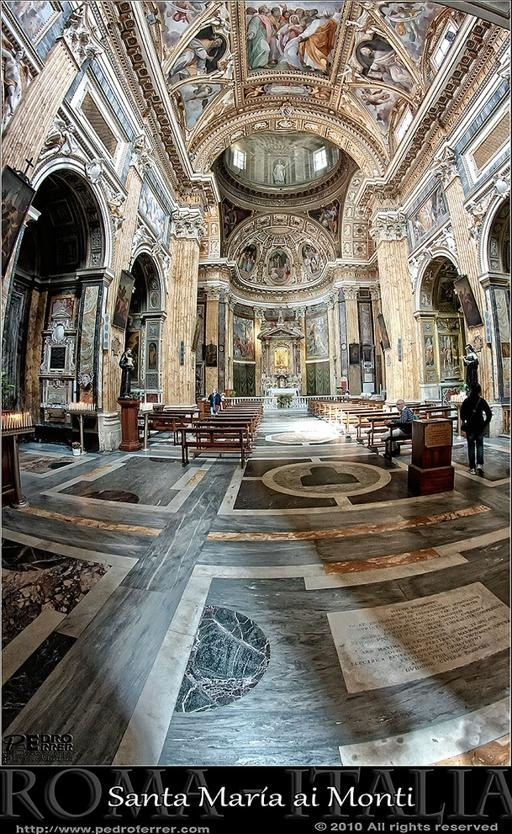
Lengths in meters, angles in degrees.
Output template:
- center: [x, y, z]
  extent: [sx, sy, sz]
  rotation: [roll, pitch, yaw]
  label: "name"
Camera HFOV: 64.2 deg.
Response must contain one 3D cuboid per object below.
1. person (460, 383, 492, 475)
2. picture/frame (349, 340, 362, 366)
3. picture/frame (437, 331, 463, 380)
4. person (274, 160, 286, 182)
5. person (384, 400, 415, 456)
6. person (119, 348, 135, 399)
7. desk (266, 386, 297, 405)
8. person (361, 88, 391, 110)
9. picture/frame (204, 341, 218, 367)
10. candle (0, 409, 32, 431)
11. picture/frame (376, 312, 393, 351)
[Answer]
- center: [2.704, 0.141, 5.118]
  extent: [0.310, 1.117, 0.665]
  rotation: [4, 8, 28]
  label: "person"
- center: [4.913, -3.173, 20.565]
  extent: [0.574, 1.094, 0.316]
  rotation: [-1, 7, -1]
  label: "picture/frame"
- center: [6.200, -1.954, 13.210]
  extent: [1.260, 1.549, 0.469]
  rotation: [-6, 9, -37]
  label: "picture/frame"
- center: [1.336, -14.343, 24.003]
  extent: [0.739, 1.185, 0.196]
  rotation: [-1, 7, -7]
  label: "person"
- center: [2.183, 0.206, 6.318]
  extent: [0.385, 0.933, 1.277]
  rotation: [2, 8, 20]
  label: "person"
- center: [-2.458, -0.830, 7.770]
  extent: [0.242, 0.897, 0.611]
  rotation: [-3, 8, -18]
  label: "person"
- center: [1.387, -1.051, 22.519]
  extent: [1.653, 0.891, 2.415]
  rotation: [0, 8, 3]
  label: "desk"
- center: [3.552, -9.494, 12.185]
  extent: [0.797, 0.288, 0.671]
  rotation: [2, 8, 14]
  label: "person"
- center: [-2.203, -3.057, 20.067]
  extent: [0.648, 1.152, 0.561]
  rotation: [-1, 7, -8]
  label: "picture/frame"
- center: [-2.436, 0.041, 4.183]
  extent: [0.246, 0.174, 0.419]
  rotation: [-6, 9, -34]
  label: "candle"
- center: [4.425, -2.975, 14.245]
  extent: [0.330, 1.283, 0.976]
  rotation: [1, 8, 11]
  label: "picture/frame"
